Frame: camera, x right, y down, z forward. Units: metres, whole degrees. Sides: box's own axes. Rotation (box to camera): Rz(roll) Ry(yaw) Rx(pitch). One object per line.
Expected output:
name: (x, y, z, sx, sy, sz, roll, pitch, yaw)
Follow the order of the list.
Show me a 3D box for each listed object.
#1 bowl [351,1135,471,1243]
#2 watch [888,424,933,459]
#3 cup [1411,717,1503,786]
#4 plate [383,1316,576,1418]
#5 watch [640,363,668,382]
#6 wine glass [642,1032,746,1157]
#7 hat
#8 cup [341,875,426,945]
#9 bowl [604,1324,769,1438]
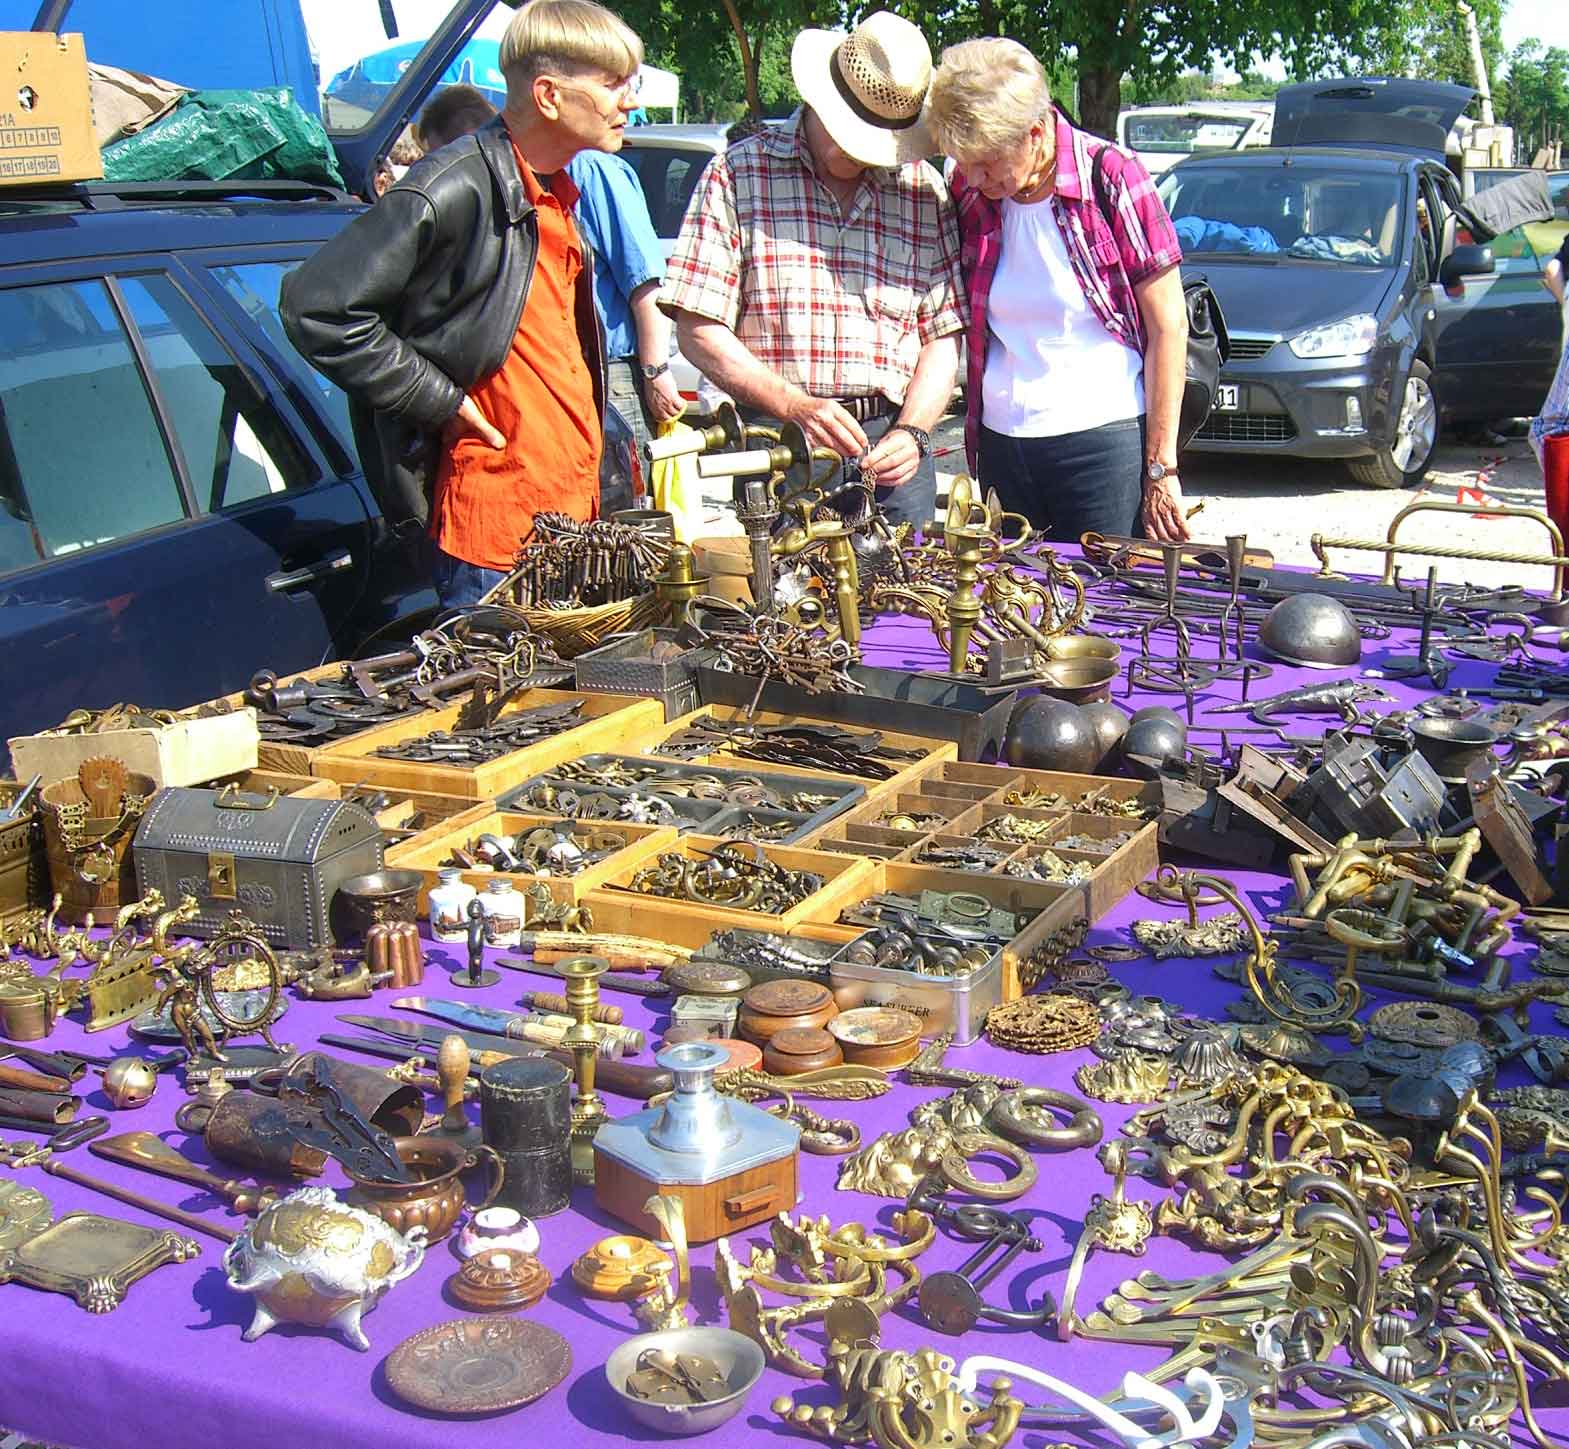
bowl: (-0.418, 0.560, 1.637, 0.122, 0.068, 0.111, -12, -8, -2)
watch: (0.388, -0.820, 3.995, 0.125, 0.041, 0.118, 21, -4, -17)
cup: (1.365, 0.042, 2.880, 0.177, 0.083, 0.158, 3, 10, 23)
plate: (-0.299, 0.633, 1.392, 0.159, 0.027, 0.153, -10, 16, -43)
watch: (-0.573, -1.515, 6.059, 0.115, 0.052, 0.112, -1, -5, -1)
wine glass: (-0.106, 0.434, 1.680, 0.154, 0.100, 0.118, 1, 10, 3)
hat: (0.228, -1.864, 4.086, 0.417, 0.481, 0.468, 2, 13, 3)
cup: (-0.674, 0.292, 2.388, 0.140, 0.083, 0.131, 0, 18, 0)
bowl: (-0.091, 0.626, 1.355, 0.149, 0.044, 0.121, -5, 13, -29)
